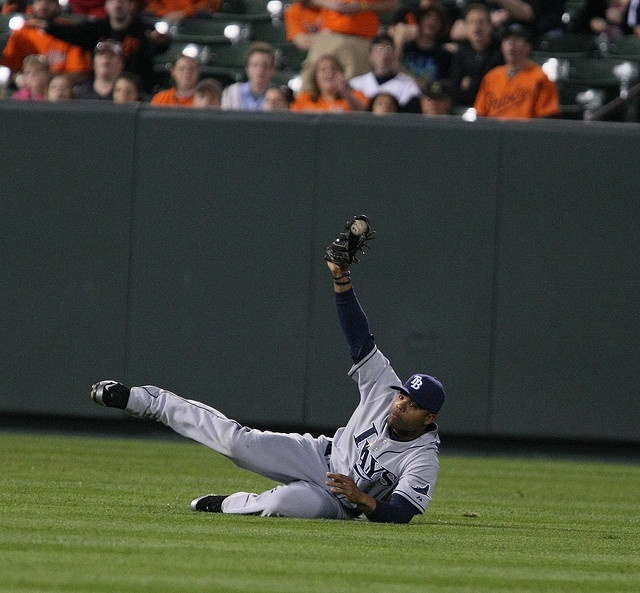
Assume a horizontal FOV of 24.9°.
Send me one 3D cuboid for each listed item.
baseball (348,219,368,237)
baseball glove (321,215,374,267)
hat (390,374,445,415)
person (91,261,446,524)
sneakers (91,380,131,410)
[{"bbox_3d":[0.203,-0.381,7.909,0.082,0.046,0.089,32,76,12],"label":"baseball"},{"bbox_3d":[0.153,-0.296,8.000,0.219,0.145,0.331,37,97,1],"label":"baseball glove"},{"bbox_3d":[0.542,0.498,7.880,0.270,0.184,0.160,32,92,-21],"label":"hat"},{"bbox_3d":[-0.133,0.674,8.028,1.594,0.606,1.067,2,72,3],"label":"person"},{"bbox_3d":[-1.151,0.533,8.022,0.202,0.091,0.141,14,88,-7],"label":"sneakers"}]
